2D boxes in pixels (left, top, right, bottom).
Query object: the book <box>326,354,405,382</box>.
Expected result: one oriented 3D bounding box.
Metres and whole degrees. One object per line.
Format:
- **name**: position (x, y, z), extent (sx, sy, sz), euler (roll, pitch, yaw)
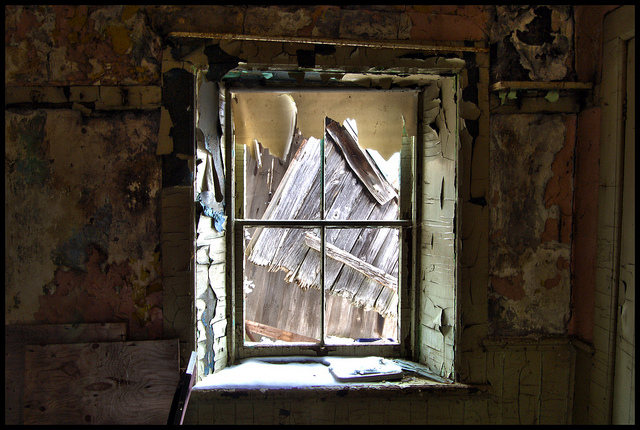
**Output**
- **book**: position (0.245, 0.811, 3.875), extent (0.390, 0.134, 0.162), euler (3, -11, 0)
